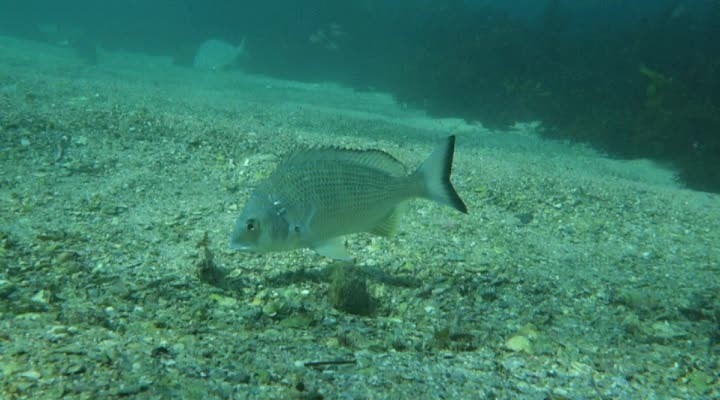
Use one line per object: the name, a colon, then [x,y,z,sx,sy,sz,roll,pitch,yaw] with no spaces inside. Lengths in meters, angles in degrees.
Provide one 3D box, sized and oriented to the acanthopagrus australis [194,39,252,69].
acanthopagrus australis: [-2.679,-2.747,12.186,1.085,0.705,0.348,17,24,17]
